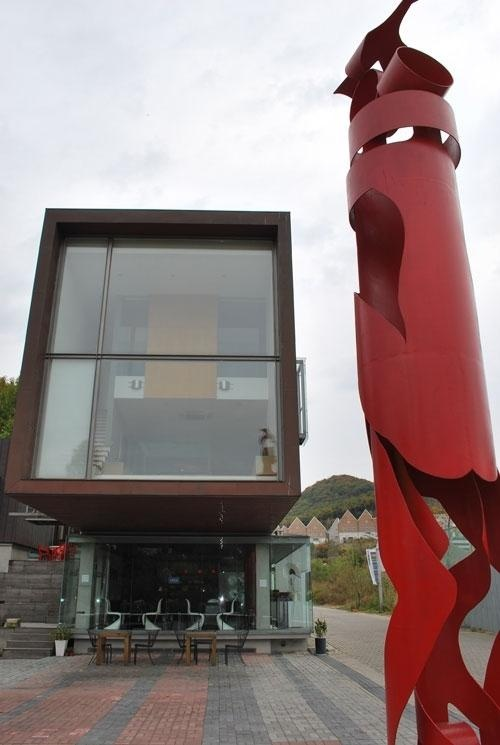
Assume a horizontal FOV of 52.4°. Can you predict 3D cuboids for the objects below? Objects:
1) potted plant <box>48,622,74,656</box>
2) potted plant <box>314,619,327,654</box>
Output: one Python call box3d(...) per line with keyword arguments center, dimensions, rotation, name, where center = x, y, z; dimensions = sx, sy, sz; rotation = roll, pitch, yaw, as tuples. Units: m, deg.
box3d(center=(-5.226, 7.406, 14.147), dimensions=(0.518, 0.796, 0.578), rotation=(1, -9, -13), name="potted plant")
box3d(center=(2.009, 7.691, 14.837), dimensions=(0.299, 0.836, 0.860), rotation=(0, -16, 5), name="potted plant")
